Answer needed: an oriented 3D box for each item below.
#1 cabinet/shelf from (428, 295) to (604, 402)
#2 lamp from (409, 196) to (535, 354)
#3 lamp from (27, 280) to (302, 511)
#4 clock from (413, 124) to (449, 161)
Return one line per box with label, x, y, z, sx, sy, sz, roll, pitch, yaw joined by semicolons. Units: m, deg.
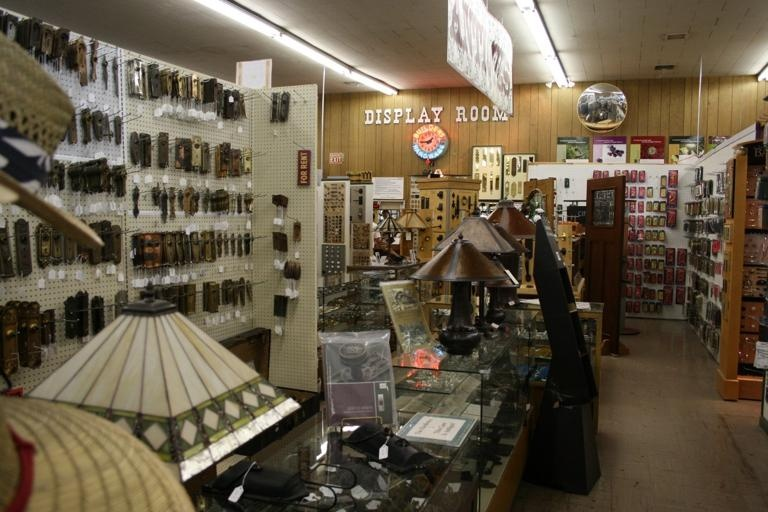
cabinet/shelf;0.900;0.636;3.776;0.933;1.102;0.419;4;-41;-4
lamp;0.578;0.096;3.578;0.738;0.903;0.852;1;2;-12
lamp;-0.557;0.251;1.464;0.504;0.301;0.530;11;11;25
clock;1.118;-2.637;12.687;0.593;0.625;0.184;-32;-4;14
